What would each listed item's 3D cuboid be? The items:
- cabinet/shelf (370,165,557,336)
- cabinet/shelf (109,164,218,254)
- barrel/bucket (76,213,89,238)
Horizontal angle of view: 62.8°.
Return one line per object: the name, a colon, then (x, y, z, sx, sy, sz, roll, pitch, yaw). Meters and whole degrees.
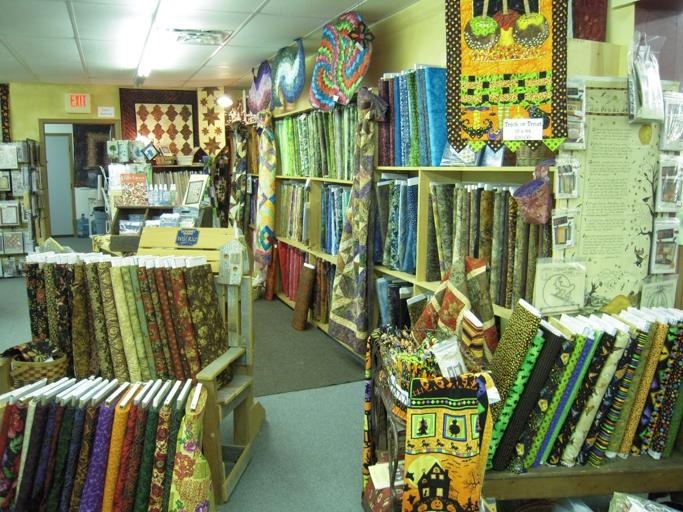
cabinet/shelf: (0.783, -0.042, 3.525, 0.366, 1.039, 1.141, -4, 11, -24)
cabinet/shelf: (-1.916, -0.435, 6.176, 1.028, 0.761, 0.766, -3, 4, -19)
barrel/bucket: (-6.048, -0.697, 13.101, 0.355, 0.529, 0.236, 10, 16, 38)
